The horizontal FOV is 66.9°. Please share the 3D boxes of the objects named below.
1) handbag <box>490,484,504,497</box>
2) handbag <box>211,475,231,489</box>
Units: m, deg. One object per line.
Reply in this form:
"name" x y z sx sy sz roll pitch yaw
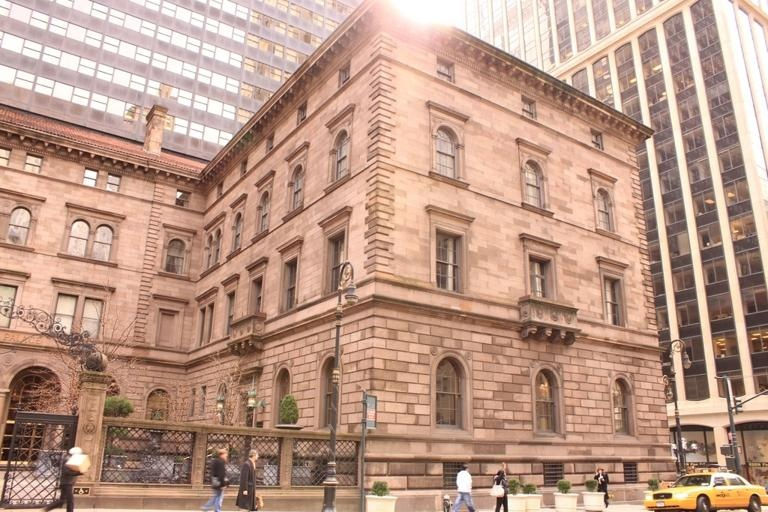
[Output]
"handbag" 5.787 11.885 29.521 0.598 0.545 0.561 -11 -27 22
"handbag" -6.986 9.472 24.439 0.582 0.431 0.345 6 -26 -15
